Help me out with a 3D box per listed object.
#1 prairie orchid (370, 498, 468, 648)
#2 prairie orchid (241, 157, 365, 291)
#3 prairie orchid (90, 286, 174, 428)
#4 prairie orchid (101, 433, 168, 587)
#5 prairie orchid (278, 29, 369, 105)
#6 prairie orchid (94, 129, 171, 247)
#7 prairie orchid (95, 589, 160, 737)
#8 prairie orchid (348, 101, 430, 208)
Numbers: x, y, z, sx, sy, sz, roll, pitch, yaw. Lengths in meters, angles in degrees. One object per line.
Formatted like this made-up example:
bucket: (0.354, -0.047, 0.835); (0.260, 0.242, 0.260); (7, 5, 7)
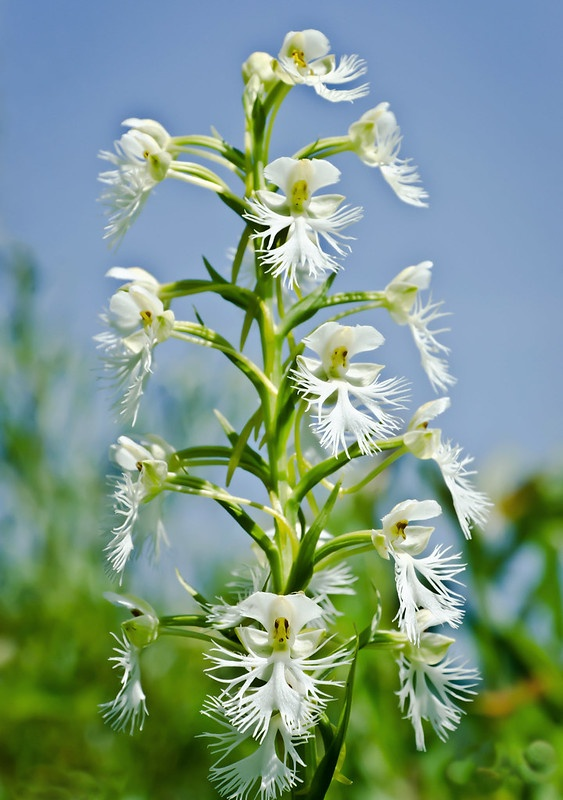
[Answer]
prairie orchid: (0.390, 0.491, 2.900); (0.119, 0.400, 0.260); (21, 54, 37)
prairie orchid: (0.038, -0.619, 3.109); (0.325, 0.443, 0.135); (1, 74, -5)
prairie orchid: (-0.431, -0.161, 2.839); (0.215, 0.431, 0.130); (9, 10, 31)
prairie orchid: (-0.448, 0.335, 3.111); (0.228, 0.461, 0.123); (9, 9, 32)
prairie orchid: (0.125, -1.067, 3.088); (0.291, 0.174, 0.270); (10, 52, 10)
prairie orchid: (-0.455, -0.685, 3.031); (0.251, 0.291, 0.373); (-8, 51, -5)
prairie orchid: (-0.447, 0.815, 3.044); (0.200, 0.202, 0.395); (3, 73, 5)
prairie orchid: (0.344, -0.760, 3.092); (0.155, 0.205, 0.282); (-26, 54, -19)
